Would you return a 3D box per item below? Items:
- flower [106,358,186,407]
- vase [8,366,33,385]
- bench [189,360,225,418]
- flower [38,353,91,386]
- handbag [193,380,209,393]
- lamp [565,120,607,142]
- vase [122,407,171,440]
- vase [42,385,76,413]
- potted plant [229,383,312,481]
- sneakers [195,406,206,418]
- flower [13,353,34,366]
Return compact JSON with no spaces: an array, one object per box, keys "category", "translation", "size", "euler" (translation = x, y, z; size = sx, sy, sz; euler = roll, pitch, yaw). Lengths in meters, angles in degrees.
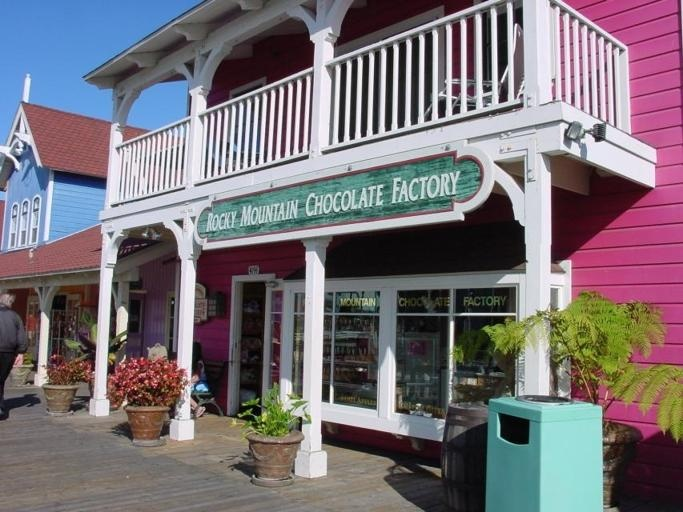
[{"category":"flower","translation":[-2.913,1.979,9.018],"size":[0.942,0.801,0.995],"euler":[1,3,29]},{"category":"vase","translation":[-8.569,3.165,15.708],"size":[0.537,0.456,0.564],"euler":[-1,-7,10]},{"category":"bench","translation":[-2.595,2.566,11.240],"size":[0.521,0.914,1.350],"euler":[2,-8,-32]},{"category":"flower","translation":[-5.357,2.251,11.731],"size":[0.808,0.637,0.850],"euler":[2,1,-5]},{"category":"handbag","translation":[-2.634,2.467,11.023],"size":[0.235,0.191,0.416],"euler":[1,-5,6]},{"category":"lamp","translation":[2.474,-1.262,5.995],"size":[0.419,0.238,0.242],"euler":[1,2,-13]},{"category":"vase","translation":[-2.953,2.526,8.866],"size":[0.628,0.476,0.658],"euler":[-1,-12,3]},{"category":"vase","translation":[-5.419,2.665,11.116],"size":[0.537,0.434,0.564],"euler":[1,-7,11]},{"category":"potted plant","translation":[-0.844,2.246,7.184],"size":[0.767,1.039,0.875],"euler":[-1,-6,9]},{"category":"sneakers","translation":[-2.659,2.931,10.917],"size":[0.176,0.152,0.418],"euler":[18,-35,-4]},{"category":"flower","translation":[-8.709,2.828,15.846],"size":[0.426,0.290,0.373],"euler":[0,0,17]}]
